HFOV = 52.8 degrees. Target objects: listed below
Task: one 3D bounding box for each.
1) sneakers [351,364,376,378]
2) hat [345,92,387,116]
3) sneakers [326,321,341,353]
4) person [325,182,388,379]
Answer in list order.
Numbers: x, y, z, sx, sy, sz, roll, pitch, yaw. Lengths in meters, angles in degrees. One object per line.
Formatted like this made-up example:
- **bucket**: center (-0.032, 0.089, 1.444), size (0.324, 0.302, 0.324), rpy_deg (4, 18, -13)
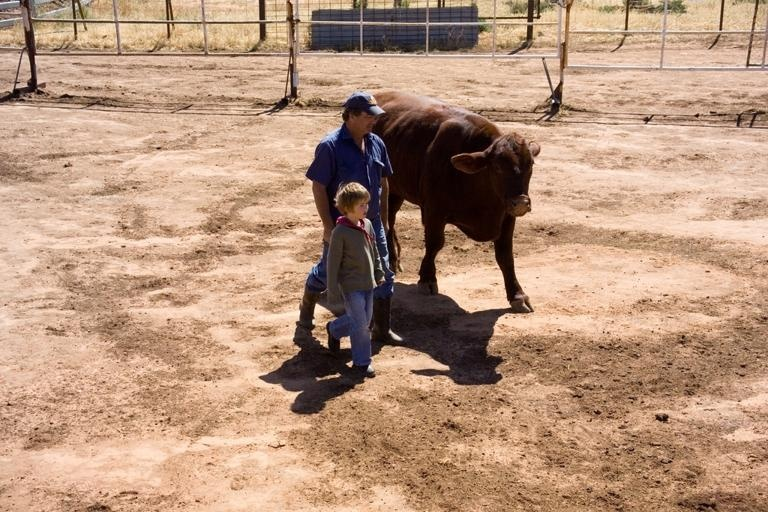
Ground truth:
- **sneakers**: center (-0.192, 1.136, 7.652), size (0.264, 0.079, 0.101), rpy_deg (5, 13, 34)
- **hat**: center (-0.201, -1.465, 7.544), size (0.434, 0.120, 0.215), rpy_deg (7, 22, -1)
- **sneakers**: center (-0.469, 0.825, 7.902), size (0.161, 0.290, 0.155), rpy_deg (-14, 9, -20)
- **person**: center (-0.279, 0.237, 7.539), size (0.547, 1.908, 0.577), rpy_deg (1, 20, -1)
